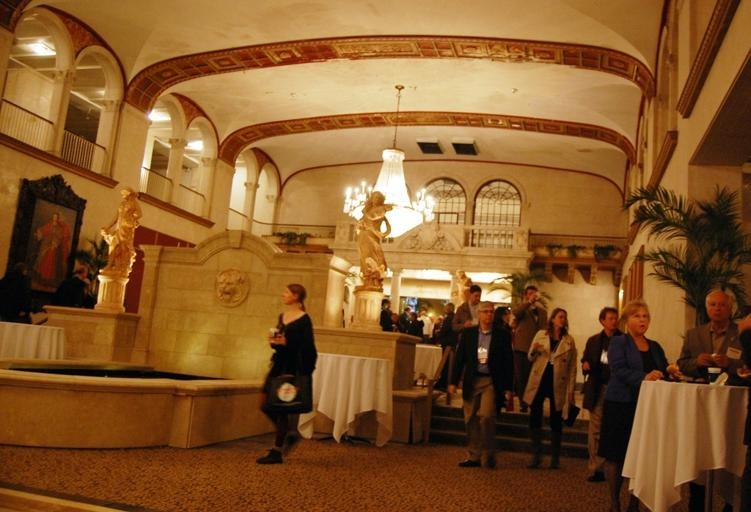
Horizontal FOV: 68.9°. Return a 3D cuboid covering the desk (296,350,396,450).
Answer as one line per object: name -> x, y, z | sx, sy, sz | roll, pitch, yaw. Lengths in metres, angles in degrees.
desk -> -0.417, 1.997, 7.422 | 1.674, 1.482, 0.593 | 3, -2, 2

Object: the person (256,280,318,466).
person -> -1.029, 1.418, 6.742 | 0.585, 2.075, 1.531 | 6, -8, -5

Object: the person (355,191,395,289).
person -> -0.043, -0.272, 9.414 | 0.535, 1.740, 0.714 | 5, -8, 3

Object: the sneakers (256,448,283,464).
sneakers -> -1.208, 2.302, 6.281 | 0.322, 0.214, 0.131 | 13, -19, -14

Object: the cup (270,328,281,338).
cup -> -1.116, 0.863, 6.113 | 0.076, 0.092, 0.178 | 5, -7, 0

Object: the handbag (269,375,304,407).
handbag -> -0.999, 1.505, 6.097 | 0.336, 0.320, 0.078 | 0, -6, 4
